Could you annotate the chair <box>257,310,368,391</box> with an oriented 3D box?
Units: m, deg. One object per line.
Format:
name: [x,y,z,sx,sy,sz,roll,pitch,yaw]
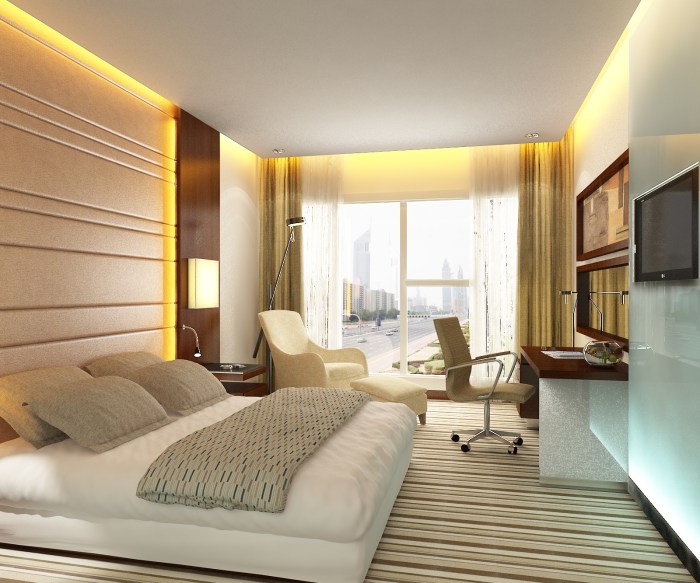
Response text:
chair: [-0.428,0.754,5.150,1.012,1.102,0.821,-4,-4,28]

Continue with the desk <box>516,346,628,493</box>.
desk: [1.638,0.914,3.477,0.636,0.809,0.685,0,1,20]

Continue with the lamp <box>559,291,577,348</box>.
lamp: [2.351,0.314,5.181,0.193,0.653,0.138,4,8,30]

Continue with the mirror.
mirror: [2.165,0.071,4.196,0.263,0.704,1.570,0,1,22]

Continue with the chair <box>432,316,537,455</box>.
chair: [1.224,0.796,4.597,1.059,1.528,1.060,-1,-2,21]

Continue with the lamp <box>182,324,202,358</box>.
lamp: [-1.499,0.464,4.590,0.159,0.340,0.403,-1,1,-17]
